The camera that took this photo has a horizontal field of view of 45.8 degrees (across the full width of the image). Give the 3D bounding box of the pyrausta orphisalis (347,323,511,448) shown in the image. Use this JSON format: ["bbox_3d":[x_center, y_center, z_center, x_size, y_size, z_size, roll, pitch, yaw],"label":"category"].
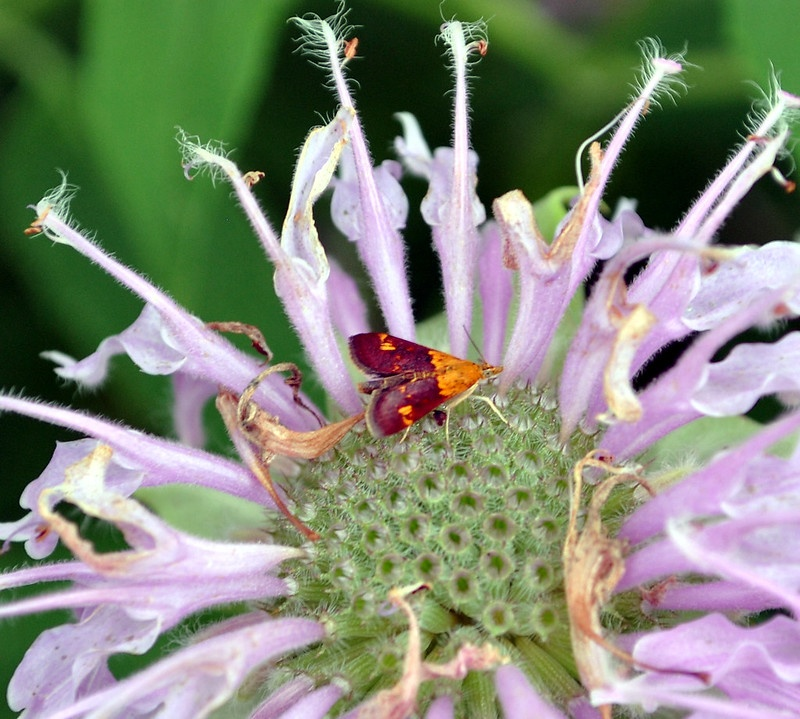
[{"bbox_3d":[0.072,0.067,2.149,0.342,0.109,0.376,-4,31,-2],"label":"pyrausta orphisalis"}]
